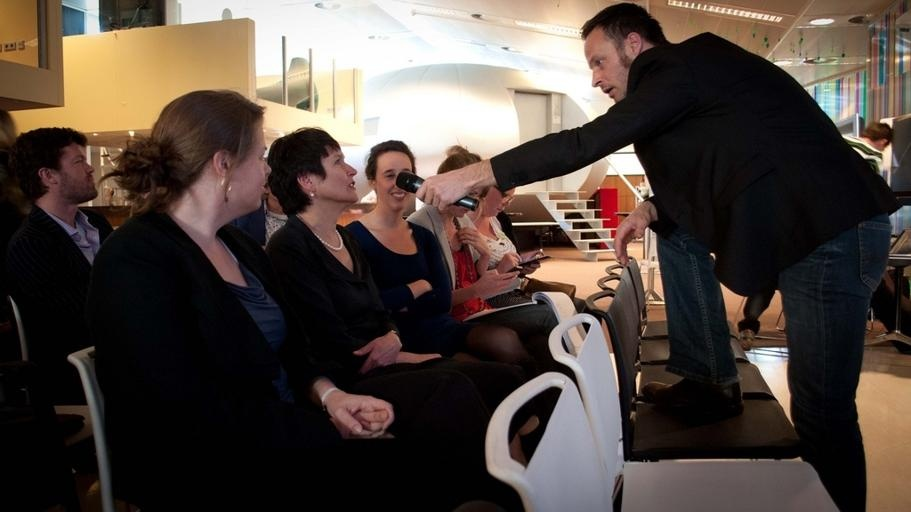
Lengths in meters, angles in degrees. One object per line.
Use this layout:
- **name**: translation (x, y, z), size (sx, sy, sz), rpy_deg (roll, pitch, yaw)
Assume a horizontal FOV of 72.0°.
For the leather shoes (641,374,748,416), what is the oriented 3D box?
- **leather shoes**: translation (1.234, 0.706, 3.296), size (0.527, 0.211, 0.185), rpy_deg (4, 12, 32)
